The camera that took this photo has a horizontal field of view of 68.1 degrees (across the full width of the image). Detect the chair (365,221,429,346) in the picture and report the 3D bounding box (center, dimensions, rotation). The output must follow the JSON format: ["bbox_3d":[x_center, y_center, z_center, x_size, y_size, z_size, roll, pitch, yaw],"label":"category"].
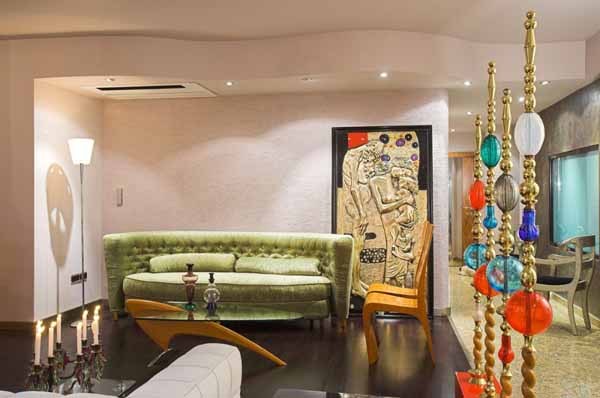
[{"bbox_3d":[1.195,1.025,5.291,0.775,1.422,1.301,-2,0,14],"label":"chair"}]

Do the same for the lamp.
[{"bbox_3d":[-3.125,0.361,6.383,0.324,2.828,0.544,-2,0,-25],"label":"lamp"}]

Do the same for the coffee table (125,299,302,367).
[{"bbox_3d":[-1.035,1.460,4.772,1.921,0.709,0.739,-1,0,3],"label":"coffee table"}]
